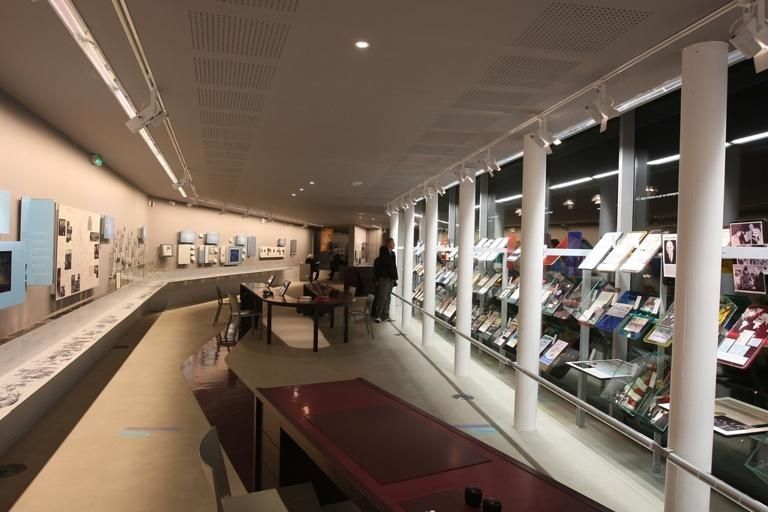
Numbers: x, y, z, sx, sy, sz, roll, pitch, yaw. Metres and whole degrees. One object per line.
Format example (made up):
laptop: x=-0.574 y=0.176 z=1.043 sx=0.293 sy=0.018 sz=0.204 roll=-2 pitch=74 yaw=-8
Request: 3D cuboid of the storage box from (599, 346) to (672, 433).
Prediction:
storage box: x=2.502 y=1.258 z=4.544 sx=0.256 sy=0.727 sz=0.530 roll=29 pitch=-8 yaw=-26

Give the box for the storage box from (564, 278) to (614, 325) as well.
storage box: x=2.363 y=0.573 z=5.292 sx=0.425 sy=0.529 sz=0.541 roll=3 pitch=15 yaw=4

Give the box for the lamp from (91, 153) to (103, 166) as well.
lamp: x=-4.740 y=-1.580 z=7.679 sx=0.136 sy=0.247 sz=0.191 roll=-1 pitch=2 yaw=6

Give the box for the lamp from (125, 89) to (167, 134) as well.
lamp: x=-2.620 y=-1.613 z=5.109 sx=0.429 sy=0.319 sz=0.288 roll=-30 pitch=19 yaw=1

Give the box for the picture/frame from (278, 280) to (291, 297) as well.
picture/frame: x=-2.150 y=0.698 z=10.070 sx=0.284 sy=0.467 sz=0.324 roll=5 pitch=-1 yaw=-17

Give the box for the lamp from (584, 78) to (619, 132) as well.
lamp: x=1.976 y=-1.391 z=4.335 sx=0.258 sy=0.420 sz=0.469 roll=3 pitch=15 yaw=5
